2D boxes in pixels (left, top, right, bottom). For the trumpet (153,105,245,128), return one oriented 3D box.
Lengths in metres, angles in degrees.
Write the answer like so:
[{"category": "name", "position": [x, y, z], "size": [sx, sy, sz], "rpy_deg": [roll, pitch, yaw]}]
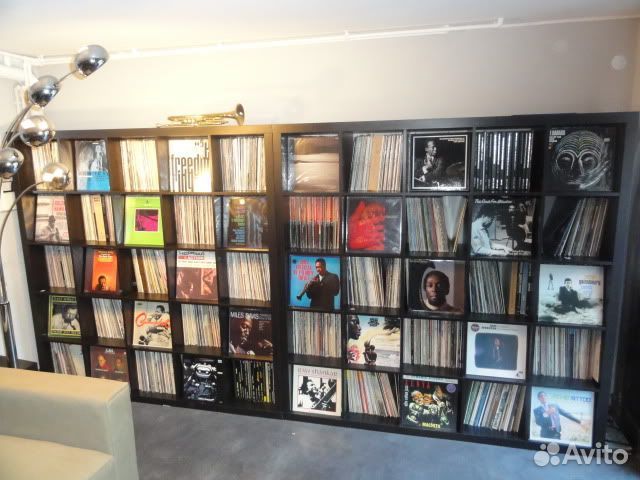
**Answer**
[{"category": "trumpet", "position": [-0.805, -0.860, 3.458], "size": [0.552, 0.143, 0.197], "rpy_deg": [-1, 10, -2]}]
